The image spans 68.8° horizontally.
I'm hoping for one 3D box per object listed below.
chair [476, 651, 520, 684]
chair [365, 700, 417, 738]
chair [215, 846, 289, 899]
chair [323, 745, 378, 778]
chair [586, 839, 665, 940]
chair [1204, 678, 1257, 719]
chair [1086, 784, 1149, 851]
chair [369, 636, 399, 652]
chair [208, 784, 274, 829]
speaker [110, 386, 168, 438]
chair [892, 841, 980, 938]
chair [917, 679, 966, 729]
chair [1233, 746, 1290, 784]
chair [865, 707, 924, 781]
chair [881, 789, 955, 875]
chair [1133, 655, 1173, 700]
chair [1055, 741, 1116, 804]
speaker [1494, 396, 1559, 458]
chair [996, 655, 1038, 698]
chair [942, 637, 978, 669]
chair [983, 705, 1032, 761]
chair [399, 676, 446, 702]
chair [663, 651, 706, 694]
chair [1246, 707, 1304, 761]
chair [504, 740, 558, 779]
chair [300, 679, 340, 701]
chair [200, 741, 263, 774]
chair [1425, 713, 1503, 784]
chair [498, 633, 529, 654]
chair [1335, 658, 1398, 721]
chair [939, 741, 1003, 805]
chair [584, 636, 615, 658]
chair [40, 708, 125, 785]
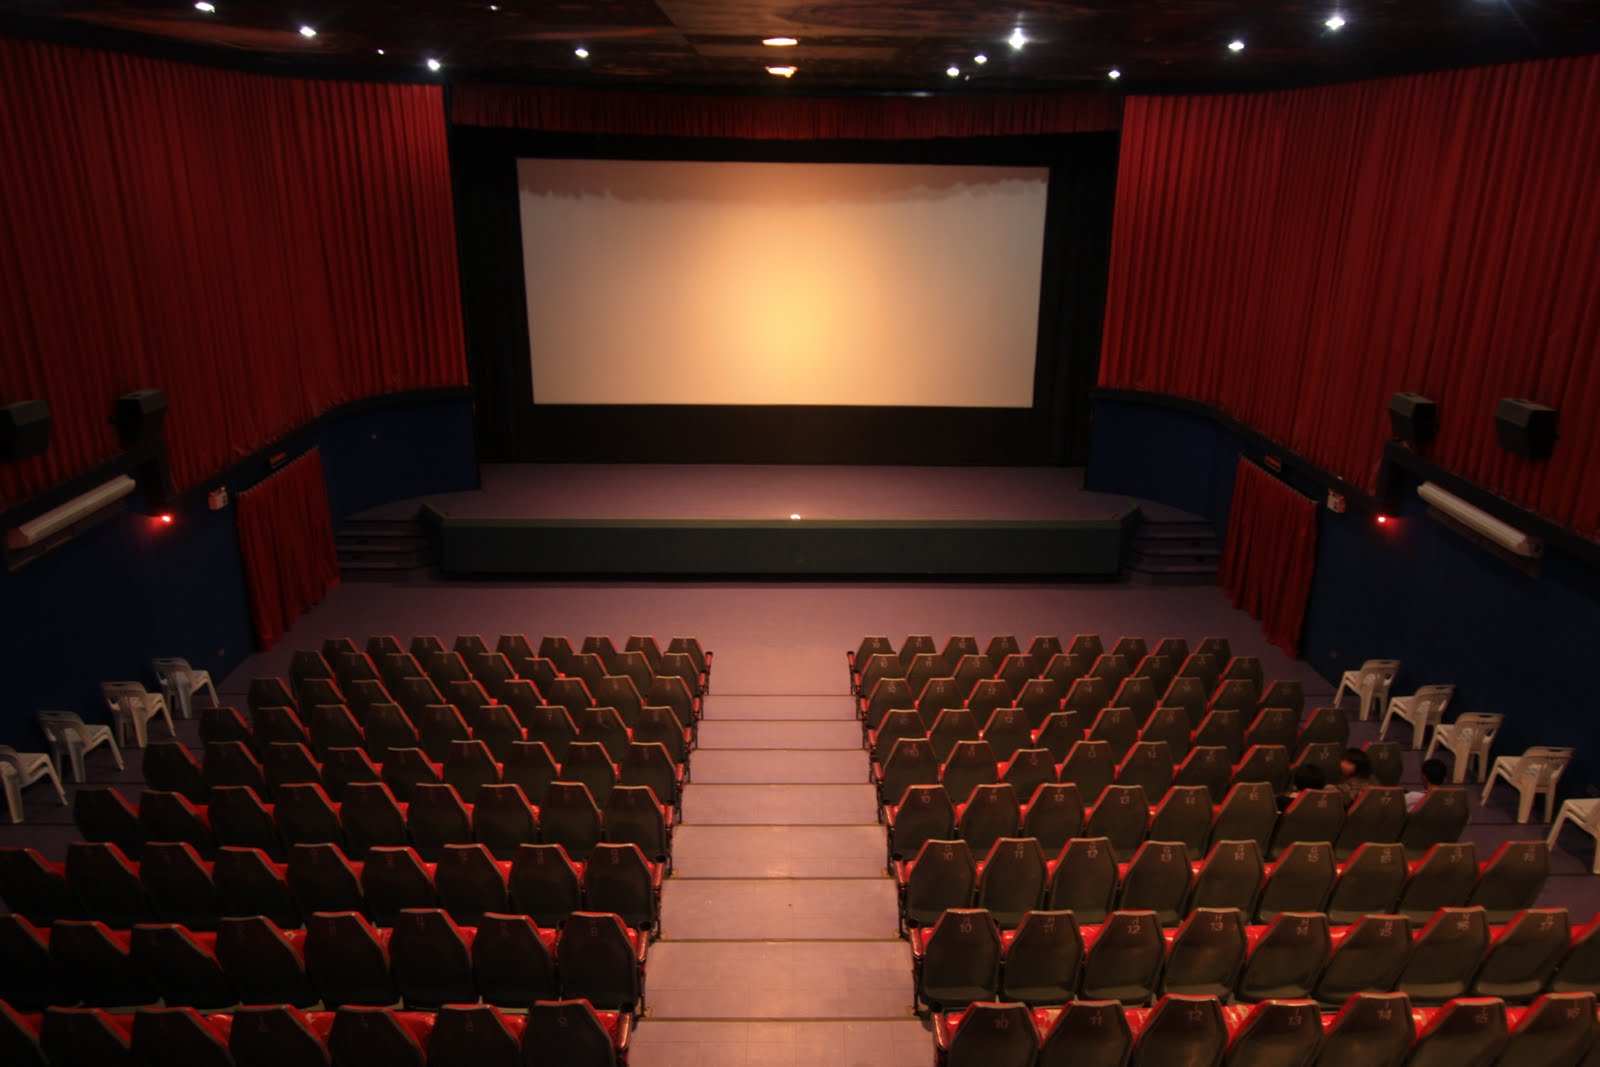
[{"bbox_3d":[-3.209,1.441,12.296,0.425,0.418,0.235,-5,16,-16],"label":"chair"},{"bbox_3d":[-3.822,1.735,10.899,0.284,0.254,0.149,-1,25,-5],"label":"chair"},{"bbox_3d":[-4.110,2.522,8.787,0.395,0.503,0.417,3,35,-6],"label":"chair"},{"bbox_3d":[-3.860,1.988,10.020,0.344,0.305,0.298,4,19,2],"label":"chair"},{"bbox_3d":[-1.335,2.671,8.813,0.625,0.829,0.655,1,24,1],"label":"chair"},{"bbox_3d":[4.331,1.629,11.679,0.361,0.445,0.410,3,29,8],"label":"chair"},{"bbox_3d":[2.603,2.293,9.483,0.430,0.595,0.549,0,16,4],"label":"chair"},{"bbox_3d":[-4.540,1.220,12.804,0.223,0.220,0.109,4,-24,-4],"label":"chair"},{"bbox_3d":[-4.531,2.182,9.461,0.467,0.345,0.155,-1,16,-5],"label":"chair"},{"bbox_3d":[-6.699,-1.250,12.007,0.423,0.580,0.622,1,10,-2],"label":"speaker"},{"bbox_3d":[0.925,2.632,8.973,0.628,0.813,0.616,1,25,0],"label":"chair"},{"bbox_3d":[1.378,1.620,11.480,0.453,0.442,0.404,-1,15,-3],"label":"chair"},{"bbox_3d":[4.066,2.037,10.309,0.339,0.468,0.373,1,30,8],"label":"chair"},{"bbox_3d":[0.857,1.844,10.781,0.476,0.866,0.634,1,35,2],"label":"chair"},{"bbox_3d":[0.969,2.358,9.423,0.497,0.685,0.597,0,18,-2],"label":"chair"},{"bbox_3d":[3.743,1.493,12.250,0.389,0.509,0.403,1,18,7],"label":"chair"},{"bbox_3d":[2.503,2.037,10.243,0.446,0.642,0.511,0,28,3],"label":"chair"},{"bbox_3d":[6.758,-0.997,10.814,0.233,0.423,0.437,-12,25,-3],"label":"speaker"},{"bbox_3d":[2.279,1.460,12.244,0.376,0.575,0.435,0,25,2],"label":"chair"},{"bbox_3d":[1.770,1.282,12.885,0.326,0.221,0.328,0,11,2],"label":"chair"},{"bbox_3d":[1.911,1.850,10.879,0.447,0.619,0.448,0,27,1],"label":"chair"},{"bbox_3d":[-3.768,1.557,11.498,0.424,0.271,0.325,-1,16,-3],"label":"chair"},{"bbox_3d":[-1.203,1.515,12.575,0.404,0.561,0.452,-2,22,1],"label":"chair"},{"bbox_3d":[4.481,1.843,11.114,0.399,0.556,0.428,3,23,10],"label":"chair"},{"bbox_3d":[-2.314,1.973,10.139,0.334,0.481,0.368,3,33,0],"label":"chair"},{"bbox_3d":[-4.707,1.532,11.439,0.362,0.196,0.279,-7,17,-23],"label":"chair"},{"bbox_3d":[-4.964,1.970,10.223,0.384,0.336,0.334,3,15,-3],"label":"chair"},{"bbox_3d":[6.607,2.100,11.571,0.507,0.672,0.509,4,1,9],"label":"chair"},{"bbox_3d":[-3.137,1.227,12.817,0.319,0.204,0.322,-5,16,-18],"label":"chair"},{"bbox_3d":[6.221,1.723,12.752,0.491,0.655,0.454,-3,33,1],"label":"chair"},{"bbox_3d":[1.458,2.064,10.157,0.444,0.568,0.466,-1,19,-2],"label":"chair"},{"bbox_3d":[-2.191,1.247,12.811,0.234,0.176,0.236,0,11,-1],"label":"chair"},{"bbox_3d":[-7.019,1.995,11.344,0.456,0.736,0.548,4,13,19],"label":"chair"}]
